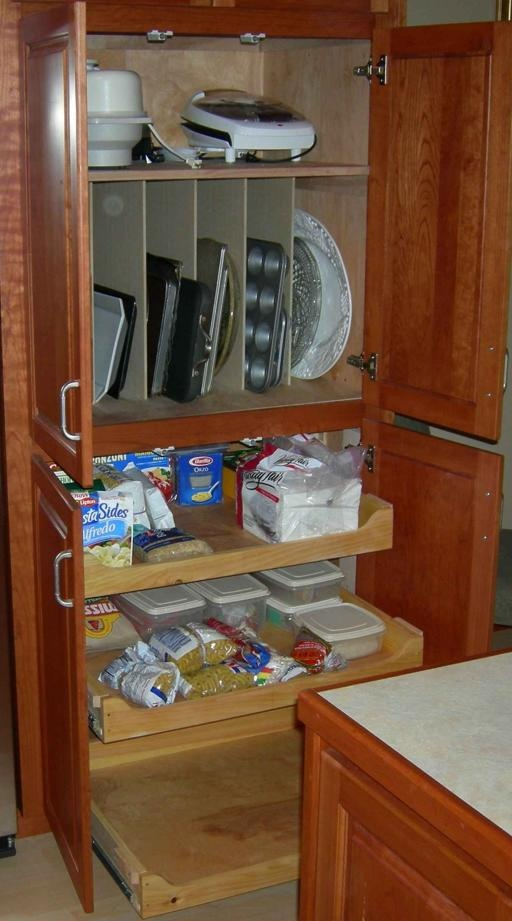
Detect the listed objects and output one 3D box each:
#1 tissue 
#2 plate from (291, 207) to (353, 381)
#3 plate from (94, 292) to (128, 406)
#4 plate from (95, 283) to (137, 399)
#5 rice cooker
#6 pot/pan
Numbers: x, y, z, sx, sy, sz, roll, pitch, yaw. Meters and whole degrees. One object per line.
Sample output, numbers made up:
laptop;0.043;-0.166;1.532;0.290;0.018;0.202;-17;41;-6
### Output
tissue ;0.103;0.060;1.728;0.253;0.207;0.274;-3;14;-32
plate;0.191;-0.401;1.845;0.123;0.438;0.141;-14;26;-37
plate;-0.320;-0.243;1.565;0.040;0.200;0.139;-8;23;-26
plate;-0.309;-0.248;1.561;0.052;0.210;0.202;4;9;-33
rice cooker;-0.284;-0.658;1.453;0.110;0.225;0.131;-8;21;-31
pot/pan;-0.024;-0.790;1.740;0.265;0.156;0.332;-15;27;-35
